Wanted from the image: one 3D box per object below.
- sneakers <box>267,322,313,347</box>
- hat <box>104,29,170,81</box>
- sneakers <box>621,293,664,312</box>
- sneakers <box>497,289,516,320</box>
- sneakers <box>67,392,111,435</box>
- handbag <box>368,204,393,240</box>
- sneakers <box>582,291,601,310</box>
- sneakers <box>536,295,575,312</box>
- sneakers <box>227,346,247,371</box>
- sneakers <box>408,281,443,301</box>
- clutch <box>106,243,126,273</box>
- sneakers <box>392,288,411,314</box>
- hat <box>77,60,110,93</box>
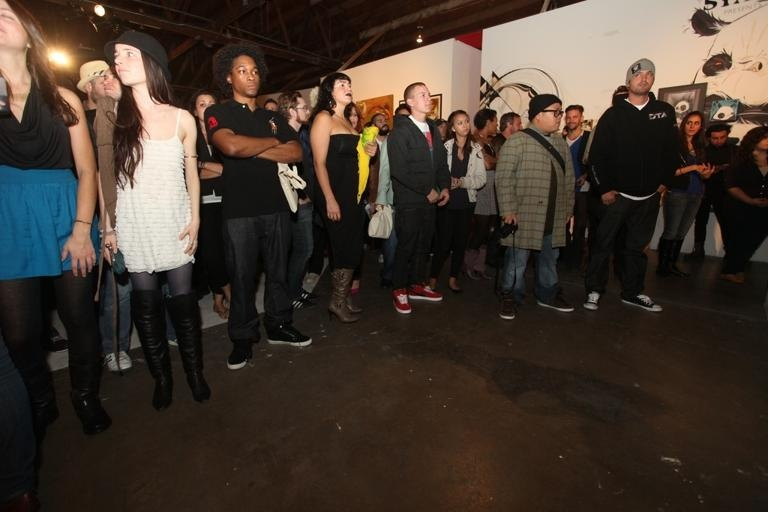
[{"bbox_3d":[-0.746,0.676,4.175,0.462,0.188,0.162,0,20,-2],"label":"sneakers"},{"bbox_3d":[-1.568,-1.340,3.226,0.294,0.185,0.375,17,-3,44],"label":"hat"},{"bbox_3d":[2.628,0.471,5.005,0.149,0.154,0.408,-27,25,-31],"label":"sneakers"},{"bbox_3d":[1.198,0.493,4.723,0.103,0.118,0.305,1,17,11],"label":"sneakers"},{"bbox_3d":[-1.951,1.020,3.262,0.200,0.265,0.190,-9,18,-35],"label":"sneakers"},{"bbox_3d":[-0.048,-0.295,4.843,0.152,0.294,0.289,5,-3,-21],"label":"handbag"},{"bbox_3d":[2.116,0.453,4.960,0.120,0.068,0.213,13,48,25],"label":"sneakers"},{"bbox_3d":[1.738,0.493,4.985,0.382,0.147,0.140,3,15,33],"label":"sneakers"},{"bbox_3d":[-1.152,0.806,3.820,0.107,0.084,0.219,2,6,-5],"label":"sneakers"},{"bbox_3d":[0.428,0.371,5.165,0.395,0.162,0.156,3,13,6],"label":"sneakers"},{"bbox_3d":[-1.791,0.042,3.259,0.114,0.148,0.060,0,-6,-8],"label":"clutch"},{"bbox_3d":[0.180,0.456,4.828,0.110,0.121,0.316,-4,9,-12],"label":"sneakers"},{"bbox_3d":[-2.354,-1.434,3.888,0.306,0.112,0.272,-24,22,0],"label":"hat"}]
